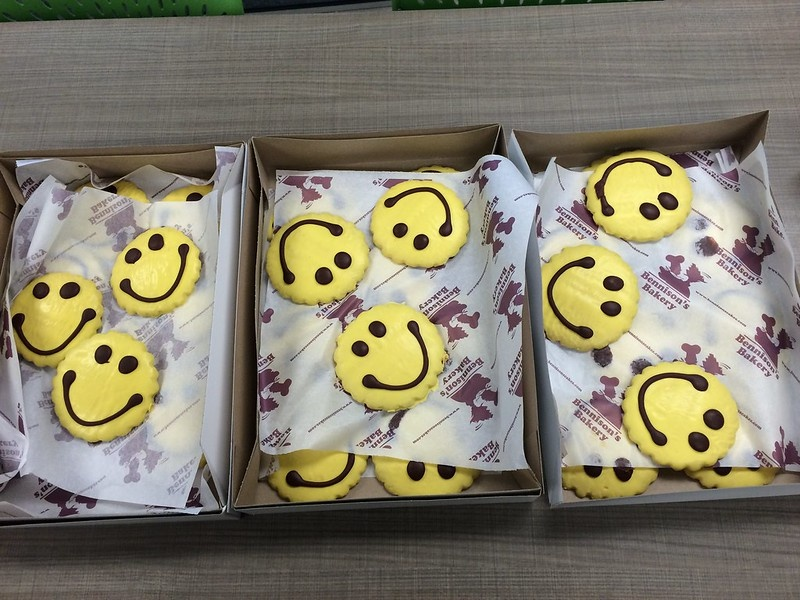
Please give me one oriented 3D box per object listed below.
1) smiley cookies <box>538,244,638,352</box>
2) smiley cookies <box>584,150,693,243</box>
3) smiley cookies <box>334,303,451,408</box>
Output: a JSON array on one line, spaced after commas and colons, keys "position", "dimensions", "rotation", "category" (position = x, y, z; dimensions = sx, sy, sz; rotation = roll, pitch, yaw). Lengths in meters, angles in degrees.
[{"position": [0.391, -0.016, 1.503], "dimensions": [0.039, 0.261, 0.258], "rotation": [-2, 13, -39], "category": "smiley cookies"}, {"position": [0.573, -0.246, 1.637], "dimensions": [0.301, 0.176, 0.183], "rotation": [22, 43, 18], "category": "smiley cookies"}, {"position": [-0.018, 0.115, 1.470], "dimensions": [0.227, 0.072, 0.234], "rotation": [40, 100, 4], "category": "smiley cookies"}]
